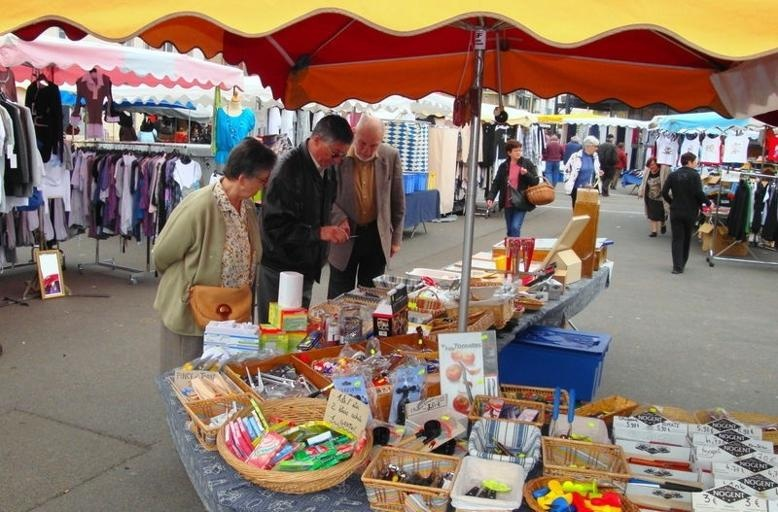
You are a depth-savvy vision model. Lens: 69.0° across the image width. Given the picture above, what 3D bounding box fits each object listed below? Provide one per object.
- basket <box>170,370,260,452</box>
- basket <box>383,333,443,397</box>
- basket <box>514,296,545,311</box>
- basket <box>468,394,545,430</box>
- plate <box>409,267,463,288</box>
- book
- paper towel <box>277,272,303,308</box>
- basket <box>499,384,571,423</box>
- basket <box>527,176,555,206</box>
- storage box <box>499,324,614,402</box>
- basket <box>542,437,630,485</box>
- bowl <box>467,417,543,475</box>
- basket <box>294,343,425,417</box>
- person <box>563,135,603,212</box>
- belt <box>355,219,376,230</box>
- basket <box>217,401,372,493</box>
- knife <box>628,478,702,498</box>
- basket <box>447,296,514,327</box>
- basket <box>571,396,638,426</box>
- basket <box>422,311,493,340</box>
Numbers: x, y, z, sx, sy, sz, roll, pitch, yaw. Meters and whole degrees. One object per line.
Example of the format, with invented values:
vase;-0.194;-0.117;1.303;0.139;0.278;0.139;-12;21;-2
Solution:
basket;-0.842;0.740;2.832;0.323;0.122;0.633;0;20;-38
basket;0.146;0.660;3.464;0.303;0.091;0.293;12;22;31
basket;1.073;0.356;4.336;0.178;0.054;0.108;1;10;0
basket;0.614;0.795;2.948;0.270;0.088;0.190;2;12;18
plate;0.395;0.164;4.656;0.267;0.089;0.201;4;11;12
book;-0.582;0.817;2.570;0.258;0.087;0.189;22;24;14
paper towel;-0.588;0.197;3.429;0.154;0.189;0.177;3;7;-24
basket;0.821;0.773;3.180;0.319;0.086;0.224;6;12;33
basket;1.477;-0.668;5.781;0.347;0.348;0.263;1;6;28
storage box;1.339;0.838;4.683;0.904;0.458;0.584;5;14;23
basket;0.885;0.925;2.575;0.242;0.089;0.184;5;7;18
bowl;0.551;0.921;2.660;0.331;0.148;0.270;5;19;6
basket;-0.095;0.638;3.084;0.420;0.106;0.445;5;12;12
person;4.978;-1.785;14.495;0.911;2.522;0.696;0;27;18
belt;-0.197;-0.260;4.976;0.111;0.035;0.111;-7;-34;2
basket;-0.440;0.861;2.591;0.632;0.256;0.508;8;11;39
knife;1.199;1.015;2.488;0.404;0.056;0.075;2;28;-8
basket;0.680;0.344;3.864;0.300;0.136;0.241;-8;11;-35
basket;1.287;0.901;3.343;0.183;0.074;0.364;-1;-3;38
basket;0.471;0.450;3.733;0.247;0.074;0.252;-8;1;-36
